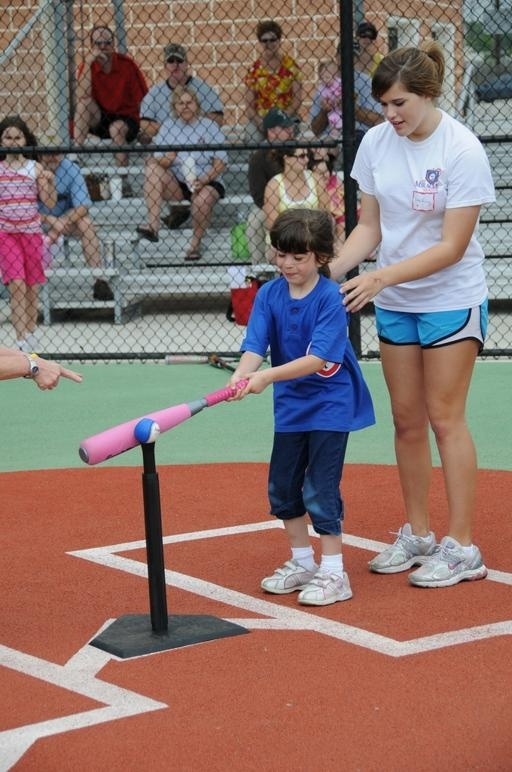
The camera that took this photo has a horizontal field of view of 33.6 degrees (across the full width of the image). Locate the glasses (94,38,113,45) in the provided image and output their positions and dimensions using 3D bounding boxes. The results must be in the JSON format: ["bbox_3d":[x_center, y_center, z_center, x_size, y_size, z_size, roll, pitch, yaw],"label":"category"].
[{"bbox_3d":[-1.612,-3.624,8.997,0.162,0.055,0.087,-4,7,-14],"label":"glasses"}]

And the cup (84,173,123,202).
[{"bbox_3d":[-1.834,-2.411,10.284,0.448,0.293,0.418,0,9,0],"label":"cup"}]

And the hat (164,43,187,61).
[{"bbox_3d":[-0.831,-3.433,8.749,0.203,0.255,0.365,-4,7,-8],"label":"hat"}]

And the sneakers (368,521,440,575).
[{"bbox_3d":[0.543,0.599,3.179,0.343,0.137,0.118,-11,7,-39],"label":"sneakers"}]

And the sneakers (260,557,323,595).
[{"bbox_3d":[0.118,0.652,2.927,0.241,0.097,0.080,-4,7,-28],"label":"sneakers"}]

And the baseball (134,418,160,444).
[{"bbox_3d":[-0.290,0.125,2.260,0.065,0.073,0.068,-3,8,0],"label":"baseball"}]

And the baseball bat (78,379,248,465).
[{"bbox_3d":[-0.457,0.201,4.414,1.121,0.151,0.143,-23,-1,-33],"label":"baseball bat"}]

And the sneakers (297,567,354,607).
[{"bbox_3d":[0.230,0.662,2.775,0.189,0.083,0.087,-1,0,-37],"label":"sneakers"}]

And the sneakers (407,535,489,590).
[{"bbox_3d":[0.665,0.608,2.942,0.334,0.151,0.128,-4,11,-38],"label":"sneakers"}]

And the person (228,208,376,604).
[{"bbox_3d":[0.127,0.082,2.727,0.399,1.275,0.499,0,9,23],"label":"person"}]

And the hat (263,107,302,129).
[{"bbox_3d":[0.222,-2.393,7.611,0.382,0.179,0.242,-3,27,3],"label":"hat"}]
